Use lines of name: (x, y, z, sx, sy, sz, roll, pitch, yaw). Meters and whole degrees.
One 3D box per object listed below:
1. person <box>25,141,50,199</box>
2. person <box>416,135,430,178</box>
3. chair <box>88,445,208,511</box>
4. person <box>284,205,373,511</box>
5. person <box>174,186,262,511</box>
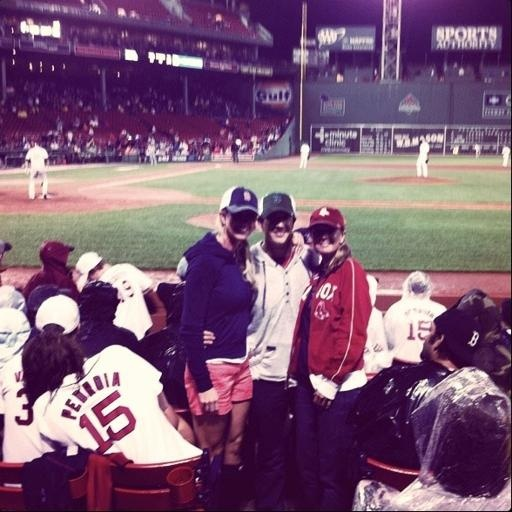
person: (-4.017, -1.522, 11.423, 0.371, 0.998, 2.483, -3, 10, -20)
person: (4.418, -2.616, 16.533, 0.311, 1.046, 2.421, 1, 10, 15)
chair: (-0.501, 0.974, 2.656, 0.290, 0.288, 0.298, -2, -33, 1)
person: (0.370, 0.595, 3.210, 0.330, 1.662, 0.596, -3, 8, -20)
person: (-0.192, 0.563, 3.079, 0.326, 1.770, 0.675, 2, 8, 19)
